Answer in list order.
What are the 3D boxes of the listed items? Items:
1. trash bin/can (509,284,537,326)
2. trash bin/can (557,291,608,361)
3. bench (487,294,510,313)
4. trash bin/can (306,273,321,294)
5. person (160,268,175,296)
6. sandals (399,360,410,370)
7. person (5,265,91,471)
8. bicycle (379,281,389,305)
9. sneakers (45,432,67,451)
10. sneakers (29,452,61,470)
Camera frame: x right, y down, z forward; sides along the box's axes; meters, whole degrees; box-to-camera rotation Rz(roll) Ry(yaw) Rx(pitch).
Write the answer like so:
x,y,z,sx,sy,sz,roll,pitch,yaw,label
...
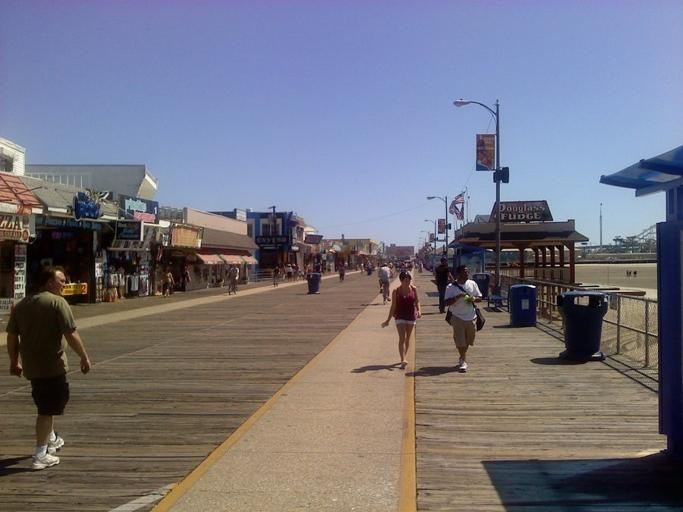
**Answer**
x,y,z,sx,sy,sz,roll,pitch,yaw,label
5.250,1.419,18.248,0.657,1.235,0.621,0,2,9,trash bin/can
4.956,1.383,13.305,1.150,1.750,1.126,-3,2,9,trash bin/can
6.020,1.775,24.425,0.720,0.573,2.580,0,2,12,bench
-1.553,1.604,37.403,0.999,1.240,1.051,4,-4,-34,trash bin/can
-9.657,1.568,35.201,0.500,1.432,1.984,-1,2,-18,person
1.219,2.128,12.364,0.126,0.175,0.406,1,1,9,sandals
-3.538,1.316,7.665,0.885,2.370,0.527,-2,2,-28,person
1.890,1.488,27.434,0.389,0.593,0.884,1,3,3,bicycle
-3.560,2.333,7.892,0.123,0.166,0.309,1,6,2,sneakers
-3.497,2.429,7.468,0.351,0.180,0.135,2,5,-44,sneakers
